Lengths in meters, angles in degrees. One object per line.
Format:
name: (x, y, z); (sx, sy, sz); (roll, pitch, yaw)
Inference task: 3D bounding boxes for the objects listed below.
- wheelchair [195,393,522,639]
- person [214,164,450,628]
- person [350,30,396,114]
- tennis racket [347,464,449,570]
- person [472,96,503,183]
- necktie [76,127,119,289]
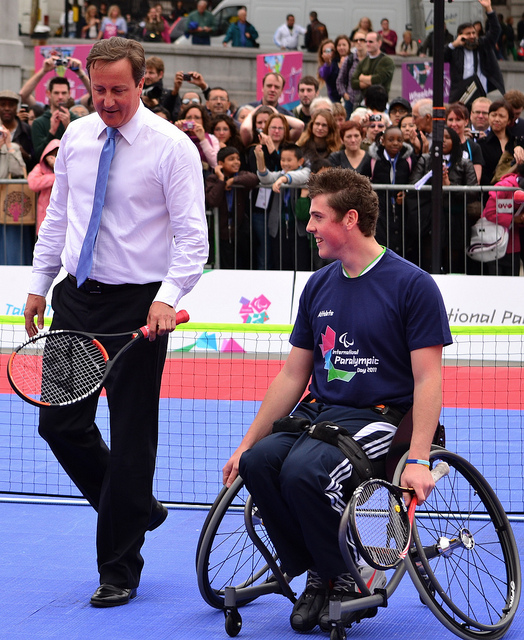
wheelchair: (0.396, 1.005, 5.067); (1.409, 1.245, 0.922); (-12, 18, -37)
person: (0.306, 0.300, 4.567); (0.828, 1.776, 0.724); (7, 11, 41)
person: (1.260, -2.834, 13.028); (0.494, 0.841, 0.736); (-1, 8, -3)
tennis racket: (0.482, 0.663, 4.323); (0.235, 0.052, 0.428); (31, 39, 0)
person: (2.061, -1.654, 10.572); (0.272, 0.778, 0.891); (1, 8, 10)
necktie: (-0.712, -0.474, 4.898); (0.159, 0.654, 0.152); (14, 18, 41)
